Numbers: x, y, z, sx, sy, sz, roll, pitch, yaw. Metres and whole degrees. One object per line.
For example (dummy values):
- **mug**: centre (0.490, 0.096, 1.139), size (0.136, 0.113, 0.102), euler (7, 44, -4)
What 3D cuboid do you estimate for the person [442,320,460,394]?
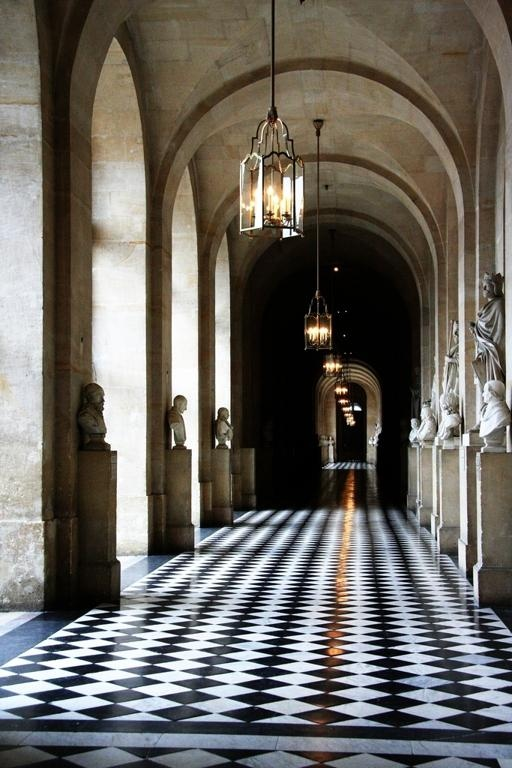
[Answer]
- **person**: centre (2.883, -0.376, 13.583), size (0.227, 1.071, 1.549), euler (-1, -4, 12)

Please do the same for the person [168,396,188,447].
- **person**: centre (-1.193, 0.558, 13.851), size (0.250, 0.798, 0.858), euler (0, -4, -6)

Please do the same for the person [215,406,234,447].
- **person**: centre (-0.652, 0.869, 18.193), size (0.298, 0.802, 1.085), euler (-1, -4, -3)

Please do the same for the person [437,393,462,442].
- **person**: centre (2.817, 0.488, 13.341), size (0.310, 0.811, 0.709), euler (3, -1, 17)
